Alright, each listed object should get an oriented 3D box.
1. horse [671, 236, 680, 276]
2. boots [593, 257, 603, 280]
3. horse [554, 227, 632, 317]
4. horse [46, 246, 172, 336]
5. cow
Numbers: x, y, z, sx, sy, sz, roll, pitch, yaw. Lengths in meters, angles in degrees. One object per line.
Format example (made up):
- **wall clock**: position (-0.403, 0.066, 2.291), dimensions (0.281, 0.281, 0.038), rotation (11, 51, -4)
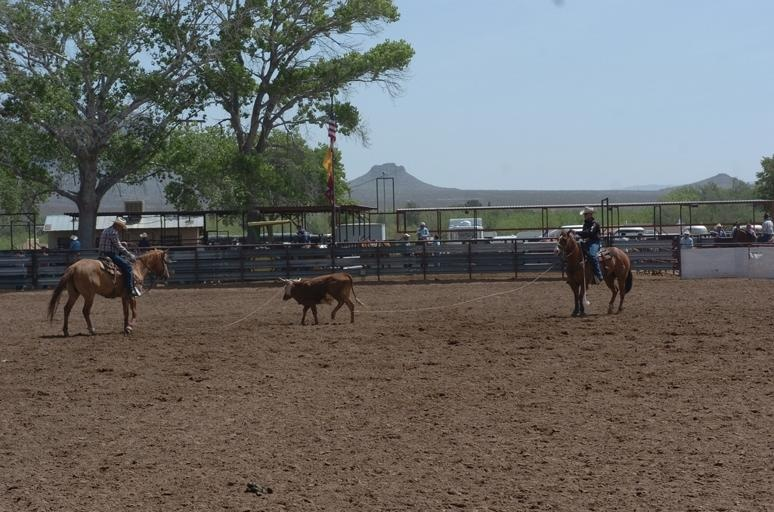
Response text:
- **horse**: position (13.069, -0.040, 51.077), dimensions (0.400, 1.702, 0.909), rotation (-2, 2, 13)
- **boots**: position (7.607, 0.413, 40.414), dimensions (0.383, 0.806, 0.196), rotation (-4, 3, -38)
- **horse**: position (7.392, 0.526, 40.593), dimensions (2.903, 3.019, 1.187), rotation (-3, 2, -28)
- **horse**: position (-9.618, 1.155, 39.488), dimensions (4.237, 3.001, 0.921), rotation (1, 2, -41)
- **cow**: position (-2.910, 1.416, 40.593), dimensions (3.879, 2.094, 1.225), rotation (-1, -7, 12)
